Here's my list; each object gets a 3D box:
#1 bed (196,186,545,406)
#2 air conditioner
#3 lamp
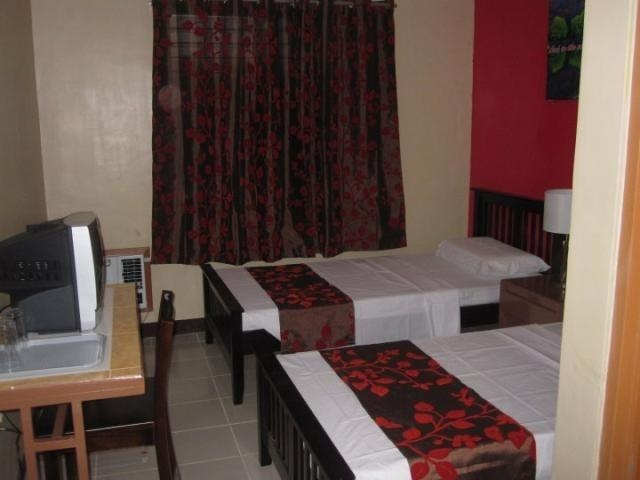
[{"bbox_3d":[0.507,0.336,4.317,2.571,1.389,1.503,-6,8,-14],"label":"bed"},{"bbox_3d":[-1.472,0.256,4.250,0.541,0.571,0.164,-3,3,-14],"label":"air conditioner"},{"bbox_3d":[1.722,0.021,3.645,0.277,0.715,0.287,-4,6,9],"label":"lamp"}]
